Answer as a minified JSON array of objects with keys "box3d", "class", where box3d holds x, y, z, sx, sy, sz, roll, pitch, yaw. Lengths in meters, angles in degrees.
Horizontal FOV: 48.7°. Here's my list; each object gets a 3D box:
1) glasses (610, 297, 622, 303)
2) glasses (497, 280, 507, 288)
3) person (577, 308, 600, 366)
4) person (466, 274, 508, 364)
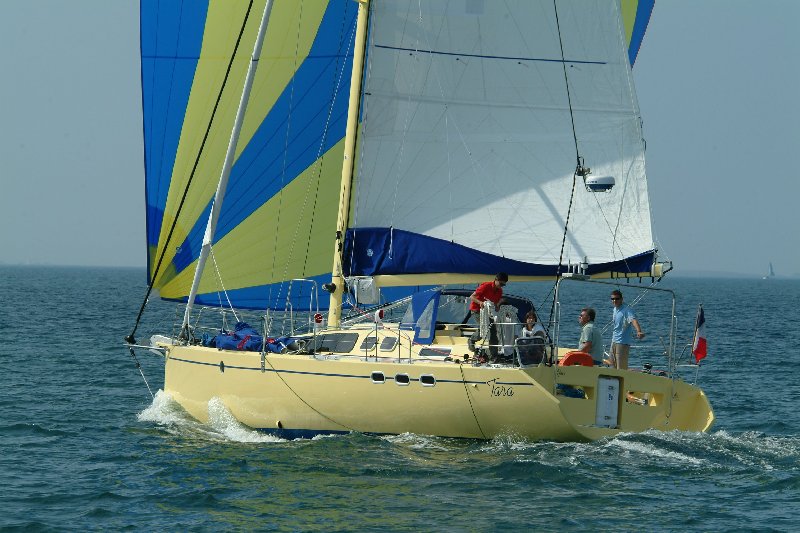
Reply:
[{"box3d":[4.035,0.613,16.518,0.158,0.114,0.214,1,3,15],"class":"glasses"},{"box3d":[1.859,0.311,16.247,0.155,0.179,0.050,4,-10,9],"class":"glasses"},{"box3d":[3.555,1.294,16.495,0.409,1.014,1.174,1,3,13],"class":"person"},{"box3d":[1.617,0.845,16.387,0.701,1.466,1.325,0,2,5],"class":"person"}]
